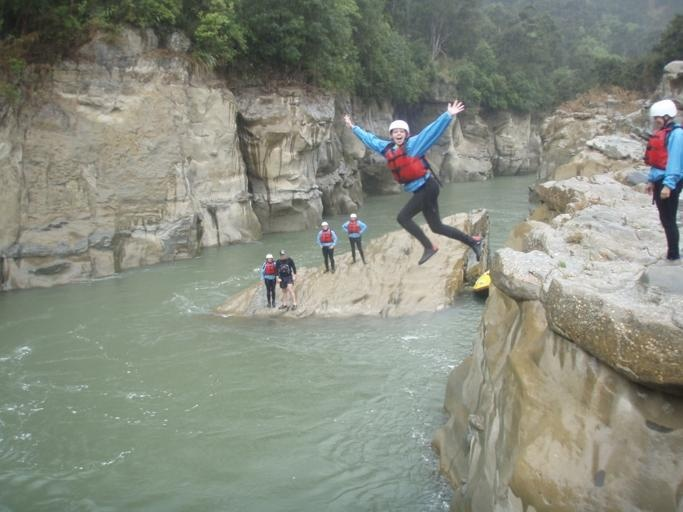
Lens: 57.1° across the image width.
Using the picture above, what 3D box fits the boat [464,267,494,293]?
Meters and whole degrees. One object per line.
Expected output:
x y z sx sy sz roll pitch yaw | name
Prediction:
3.954 0.557 17.713 0.756 0.341 1.409 -6 25 31 | boat

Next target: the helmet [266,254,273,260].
-2.016 0.010 17.472 0.210 0.130 0.339 0 -3 -2 | helmet

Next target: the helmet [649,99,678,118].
5.520 -2.510 10.707 0.448 0.283 0.363 -3 9 7 | helmet

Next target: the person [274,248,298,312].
-1.542 0.622 17.442 0.512 1.584 0.761 -4 7 -6 | person
